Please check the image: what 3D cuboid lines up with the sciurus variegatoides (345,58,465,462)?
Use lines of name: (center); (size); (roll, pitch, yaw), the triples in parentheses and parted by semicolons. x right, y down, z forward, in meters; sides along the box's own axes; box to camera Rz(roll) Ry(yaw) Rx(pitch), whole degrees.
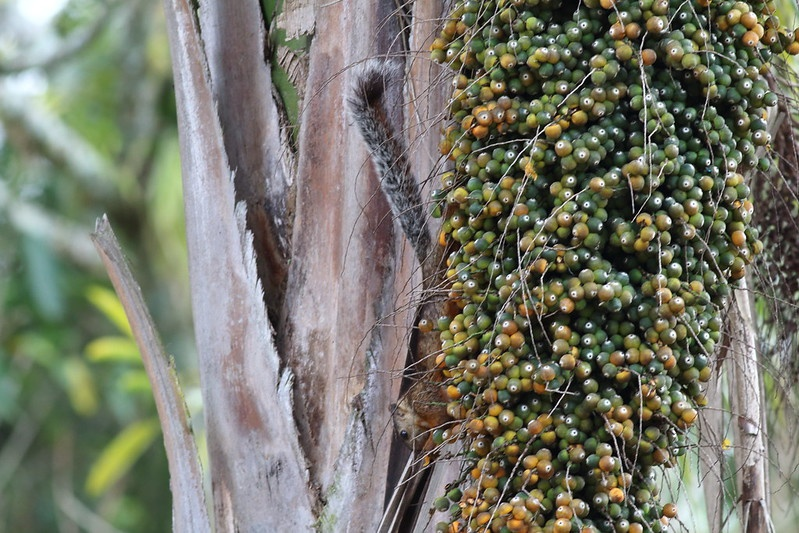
sciurus variegatoides: (0.039, -0.312, 6.961); (0.216, 0.513, 1.368); (1, 40, -21)
